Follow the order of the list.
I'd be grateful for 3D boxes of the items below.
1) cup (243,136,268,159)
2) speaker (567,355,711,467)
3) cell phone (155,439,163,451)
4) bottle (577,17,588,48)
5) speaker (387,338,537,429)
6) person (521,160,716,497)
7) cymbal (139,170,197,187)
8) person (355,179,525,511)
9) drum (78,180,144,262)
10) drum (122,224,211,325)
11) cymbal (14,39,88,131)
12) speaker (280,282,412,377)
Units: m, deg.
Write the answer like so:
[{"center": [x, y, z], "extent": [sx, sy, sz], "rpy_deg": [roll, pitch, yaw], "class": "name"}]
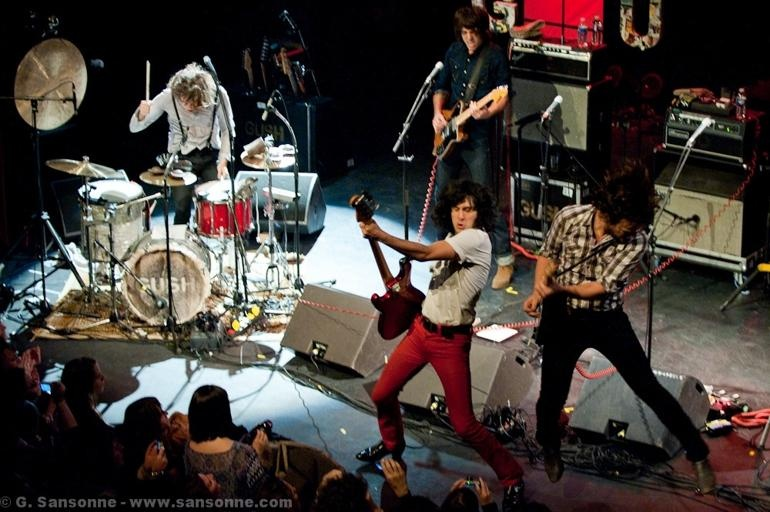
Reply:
[{"center": [-1.456, -1.186, 6.625], "extent": [0.258, 0.258, 0.208], "rpy_deg": [-11, 6, -13], "class": "cup"}, {"center": [1.909, 1.254, 4.646], "extent": [0.802, 0.597, 0.817], "rpy_deg": [8, 15, 38], "class": "speaker"}, {"center": [-1.550, 1.302, 4.047], "extent": [0.045, 0.084, 0.084], "rpy_deg": [1, 3, 0], "class": "cell phone"}, {"center": [2.444, -2.736, 7.291], "extent": [0.134, 0.332, 0.464], "rpy_deg": [11, 17, 15], "class": "bottle"}, {"center": [0.821, 1.051, 4.961], "extent": [0.666, 0.366, 0.866], "rpy_deg": [-12, 7, -14], "class": "speaker"}, {"center": [1.574, 0.564, 4.131], "extent": [1.211, 2.399, 0.429], "rpy_deg": [10, 17, 10], "class": "person"}, {"center": [-2.306, -0.820, 6.206], "extent": [0.408, 0.057, 0.405], "rpy_deg": [4, 16, 2], "class": "cymbal"}, {"center": [0.407, 0.629, 4.010], "extent": [1.264, 2.221, 0.666], "rpy_deg": [11, 17, 15], "class": "person"}, {"center": [-3.111, -0.432, 6.773], "extent": [0.703, 0.755, 0.700], "rpy_deg": [3, 29, -16], "class": "drum"}, {"center": [-2.214, 0.156, 6.392], "extent": [0.963, 0.967, 0.918], "rpy_deg": [0, 15, -3], "class": "drum"}, {"center": [-3.518, -1.794, 6.220], "extent": [0.640, 0.978, 0.473], "rpy_deg": [-4, 20, -32], "class": "cymbal"}, {"center": [-0.347, 0.478, 5.640], "extent": [0.966, 0.681, 0.870], "rpy_deg": [16, 30, 29], "class": "speaker"}]
